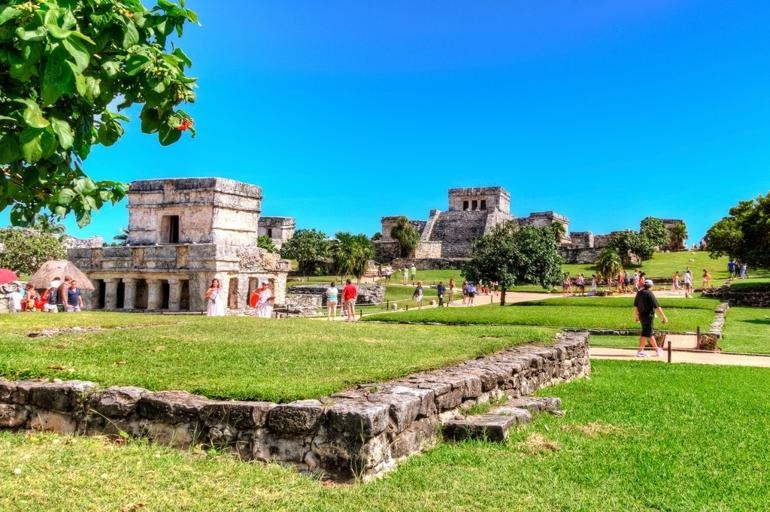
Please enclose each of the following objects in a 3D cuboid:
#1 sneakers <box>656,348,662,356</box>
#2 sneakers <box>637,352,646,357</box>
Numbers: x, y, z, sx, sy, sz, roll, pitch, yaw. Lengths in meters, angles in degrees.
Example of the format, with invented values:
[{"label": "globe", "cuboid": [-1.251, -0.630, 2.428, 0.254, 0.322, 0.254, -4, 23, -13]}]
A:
[{"label": "sneakers", "cuboid": [7.215, 2.516, 19.084, 0.184, 0.142, 0.249, 9, -14, 22]}, {"label": "sneakers", "cuboid": [6.568, 2.505, 18.487, 0.219, 0.094, 0.234, 4, 10, 19]}]
